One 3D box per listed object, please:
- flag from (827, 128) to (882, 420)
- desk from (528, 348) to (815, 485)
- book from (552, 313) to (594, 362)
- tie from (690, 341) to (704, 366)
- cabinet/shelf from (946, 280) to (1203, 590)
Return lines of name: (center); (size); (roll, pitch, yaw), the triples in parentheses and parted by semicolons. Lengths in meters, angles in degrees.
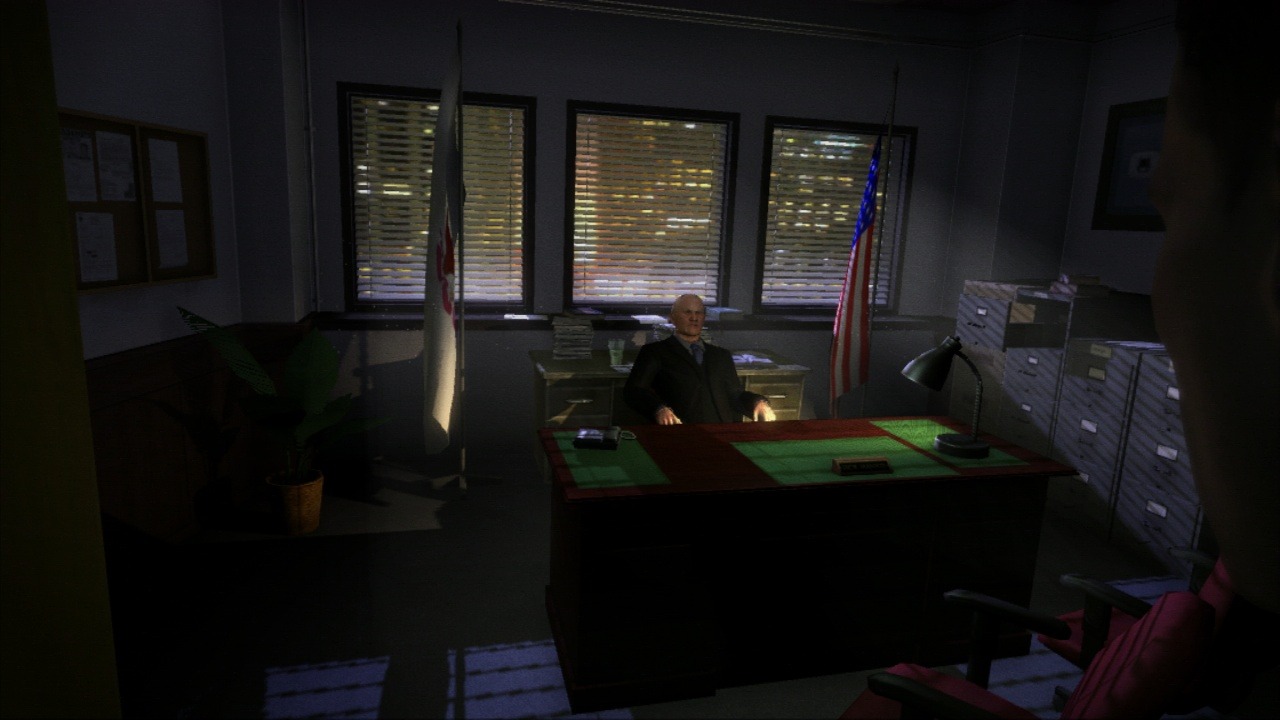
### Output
flag: (1.495, -0.521, 5.622); (0.258, 1.965, 0.419); (3, 14, 13)
desk: (0.321, 0.535, 6.941); (2.174, 0.972, 0.815); (-2, 9, -4)
book: (-0.583, -0.226, 6.917); (0.484, 0.417, 0.355); (-1, 9, -7)
tie: (0.441, -0.055, 6.059); (0.116, 0.148, 0.050); (2, -27, -12)
cabinet/shelf: (2.903, 0.565, 5.338); (0.765, 1.340, 2.221); (0, 10, -4)
